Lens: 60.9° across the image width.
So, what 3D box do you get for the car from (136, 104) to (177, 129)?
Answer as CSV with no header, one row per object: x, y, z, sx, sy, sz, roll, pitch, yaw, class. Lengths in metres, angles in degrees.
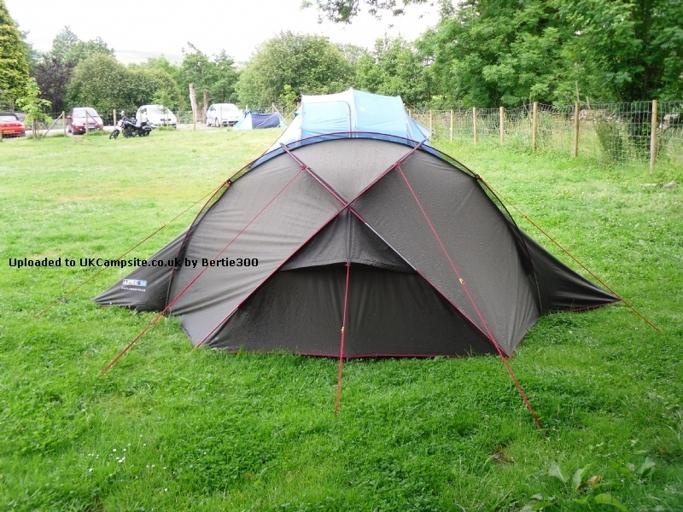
-10.755,-8.140,34.066,2.016,1.575,3.121,-12,16,-33,car

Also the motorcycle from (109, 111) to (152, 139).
-10.285,-6.061,28.137,2.103,1.242,1.125,-6,46,-40,motorcycle

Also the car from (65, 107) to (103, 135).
-13.687,-7.101,30.894,1.514,1.208,2.508,-5,13,-26,car

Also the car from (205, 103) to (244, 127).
-7.802,-9.058,38.663,1.786,1.558,3.198,-5,27,-15,car
